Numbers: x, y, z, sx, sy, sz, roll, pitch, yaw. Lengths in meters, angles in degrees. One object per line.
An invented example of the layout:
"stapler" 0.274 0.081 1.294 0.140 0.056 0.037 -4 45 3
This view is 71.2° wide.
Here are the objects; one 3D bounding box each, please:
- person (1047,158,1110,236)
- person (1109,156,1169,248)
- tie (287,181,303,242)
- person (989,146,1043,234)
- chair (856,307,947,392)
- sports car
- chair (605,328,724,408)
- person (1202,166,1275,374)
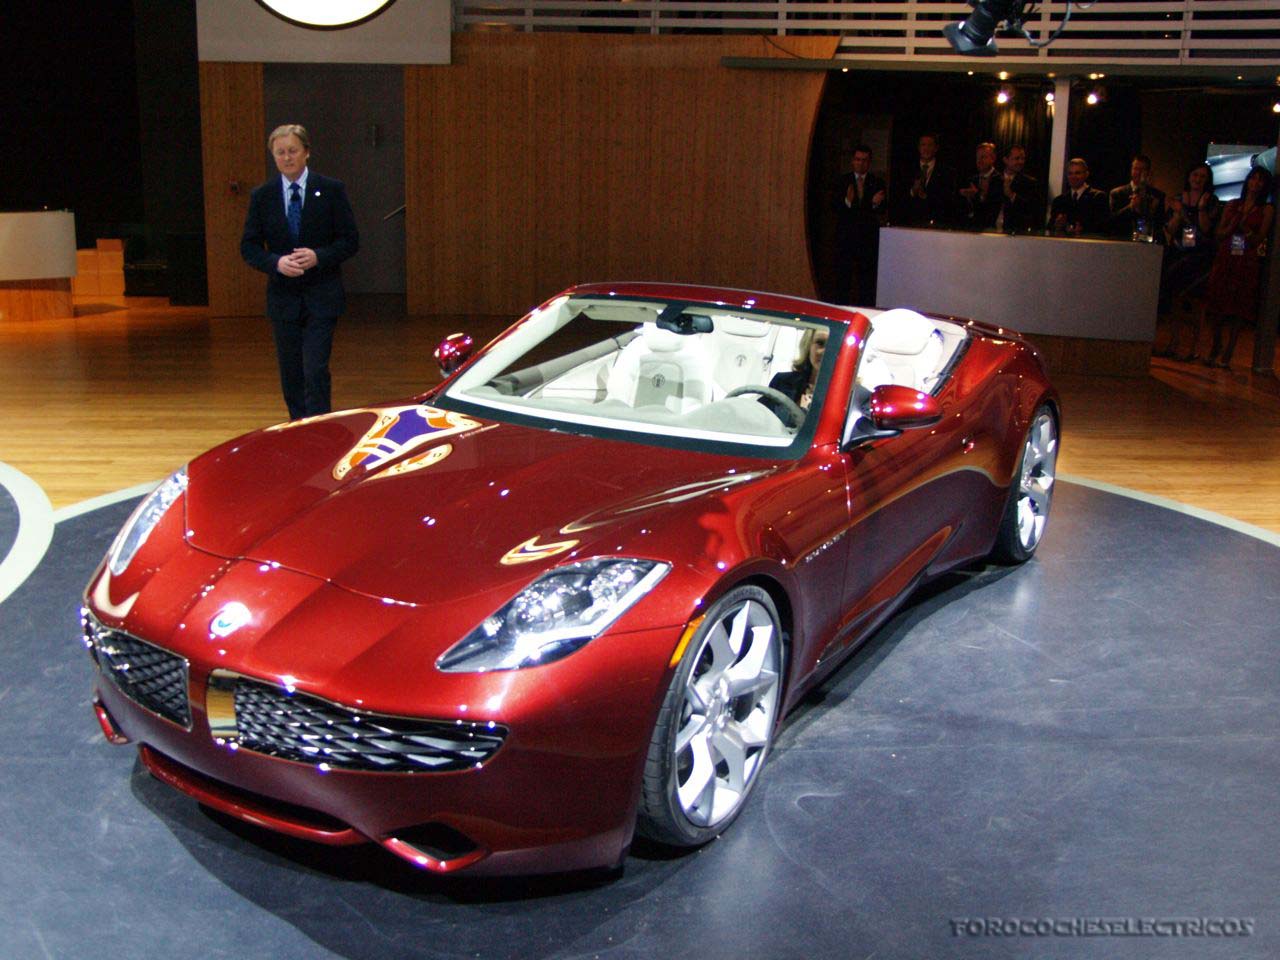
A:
"person" 5.097 -3.309 10.448 0.809 0.811 0.607 -13 21 -41
"person" 5.657 -3.160 10.054 0.592 0.914 1.084 6 16 18
"tie" -2.207 -1.722 5.704 0.106 0.358 0.047 0 15 0
"person" 4.516 -3.465 10.689 0.598 0.901 0.682 8 17 26
"chair" 1.087 -0.536 3.743 0.264 0.344 0.379 11 39 20
"sports car" 0.178 0.091 3.120 1.553 1.002 3.289 12 23 33
"chair" 0.099 -0.410 3.379 0.280 0.408 0.141 1 -16 10
"person" 6.790 -2.382 10.143 0.515 2.148 0.566 10 18 31
